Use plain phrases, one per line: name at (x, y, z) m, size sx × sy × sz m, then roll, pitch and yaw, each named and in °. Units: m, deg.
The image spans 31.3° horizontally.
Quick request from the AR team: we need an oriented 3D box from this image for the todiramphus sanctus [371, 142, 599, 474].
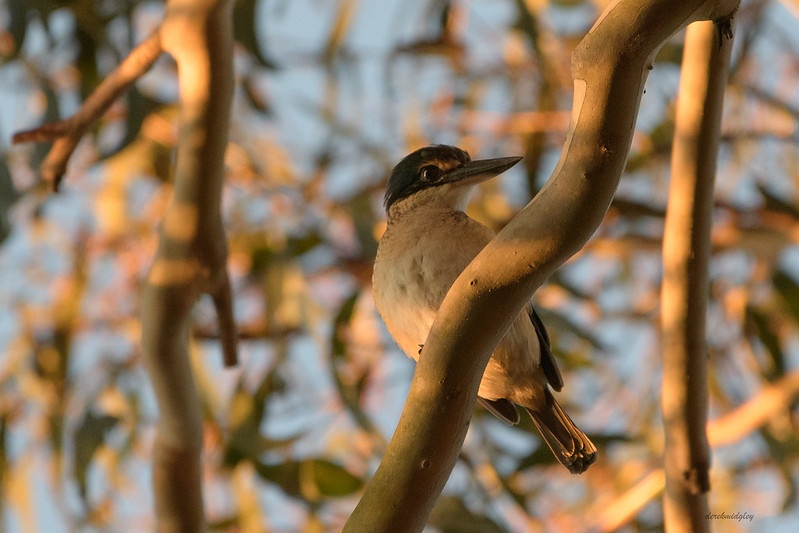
todiramphus sanctus at (0.341, 0.233, 5.240) m, size 0.552 × 0.746 × 1.195 m, roll -22°, pitch -54°, yaw 27°
